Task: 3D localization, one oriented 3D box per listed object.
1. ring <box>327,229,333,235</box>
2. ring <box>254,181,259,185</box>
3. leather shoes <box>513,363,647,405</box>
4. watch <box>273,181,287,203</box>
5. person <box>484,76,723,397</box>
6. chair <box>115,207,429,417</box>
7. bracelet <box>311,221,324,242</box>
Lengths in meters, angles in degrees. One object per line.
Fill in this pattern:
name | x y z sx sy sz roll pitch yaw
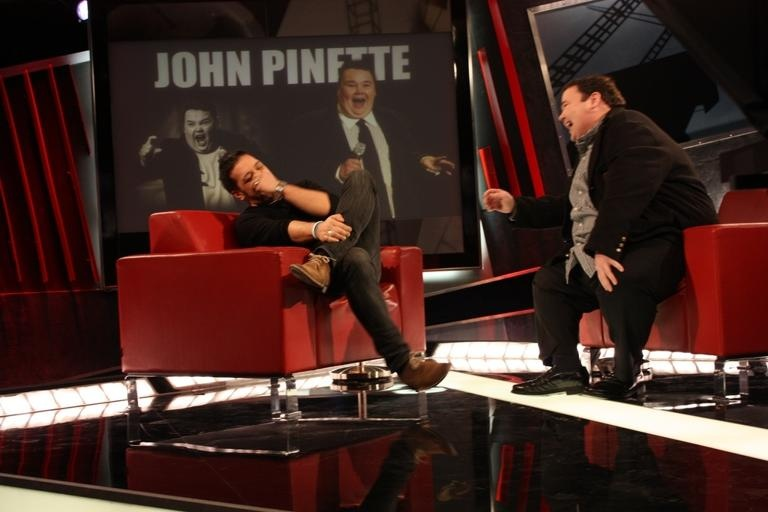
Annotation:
ring | -0.240 -0.105 2.915 0.019 0.015 0.018 1 -6 0
ring | -0.632 -0.363 3.229 0.019 0.017 0.005 11 -13 -16
leather shoes | 0.924 0.604 3.176 0.670 0.231 0.213 2 -9 4
watch | -0.505 -0.323 3.298 0.066 0.095 0.086 16 -40 10
person | 1.203 -0.115 3.427 1.247 1.650 0.960 -10 -14 43
chair | -0.512 0.252 3.414 0.980 0.859 1.339 -3 -2 27
bracelet | -0.292 -0.111 2.982 0.037 0.072 0.068 4 5 8
